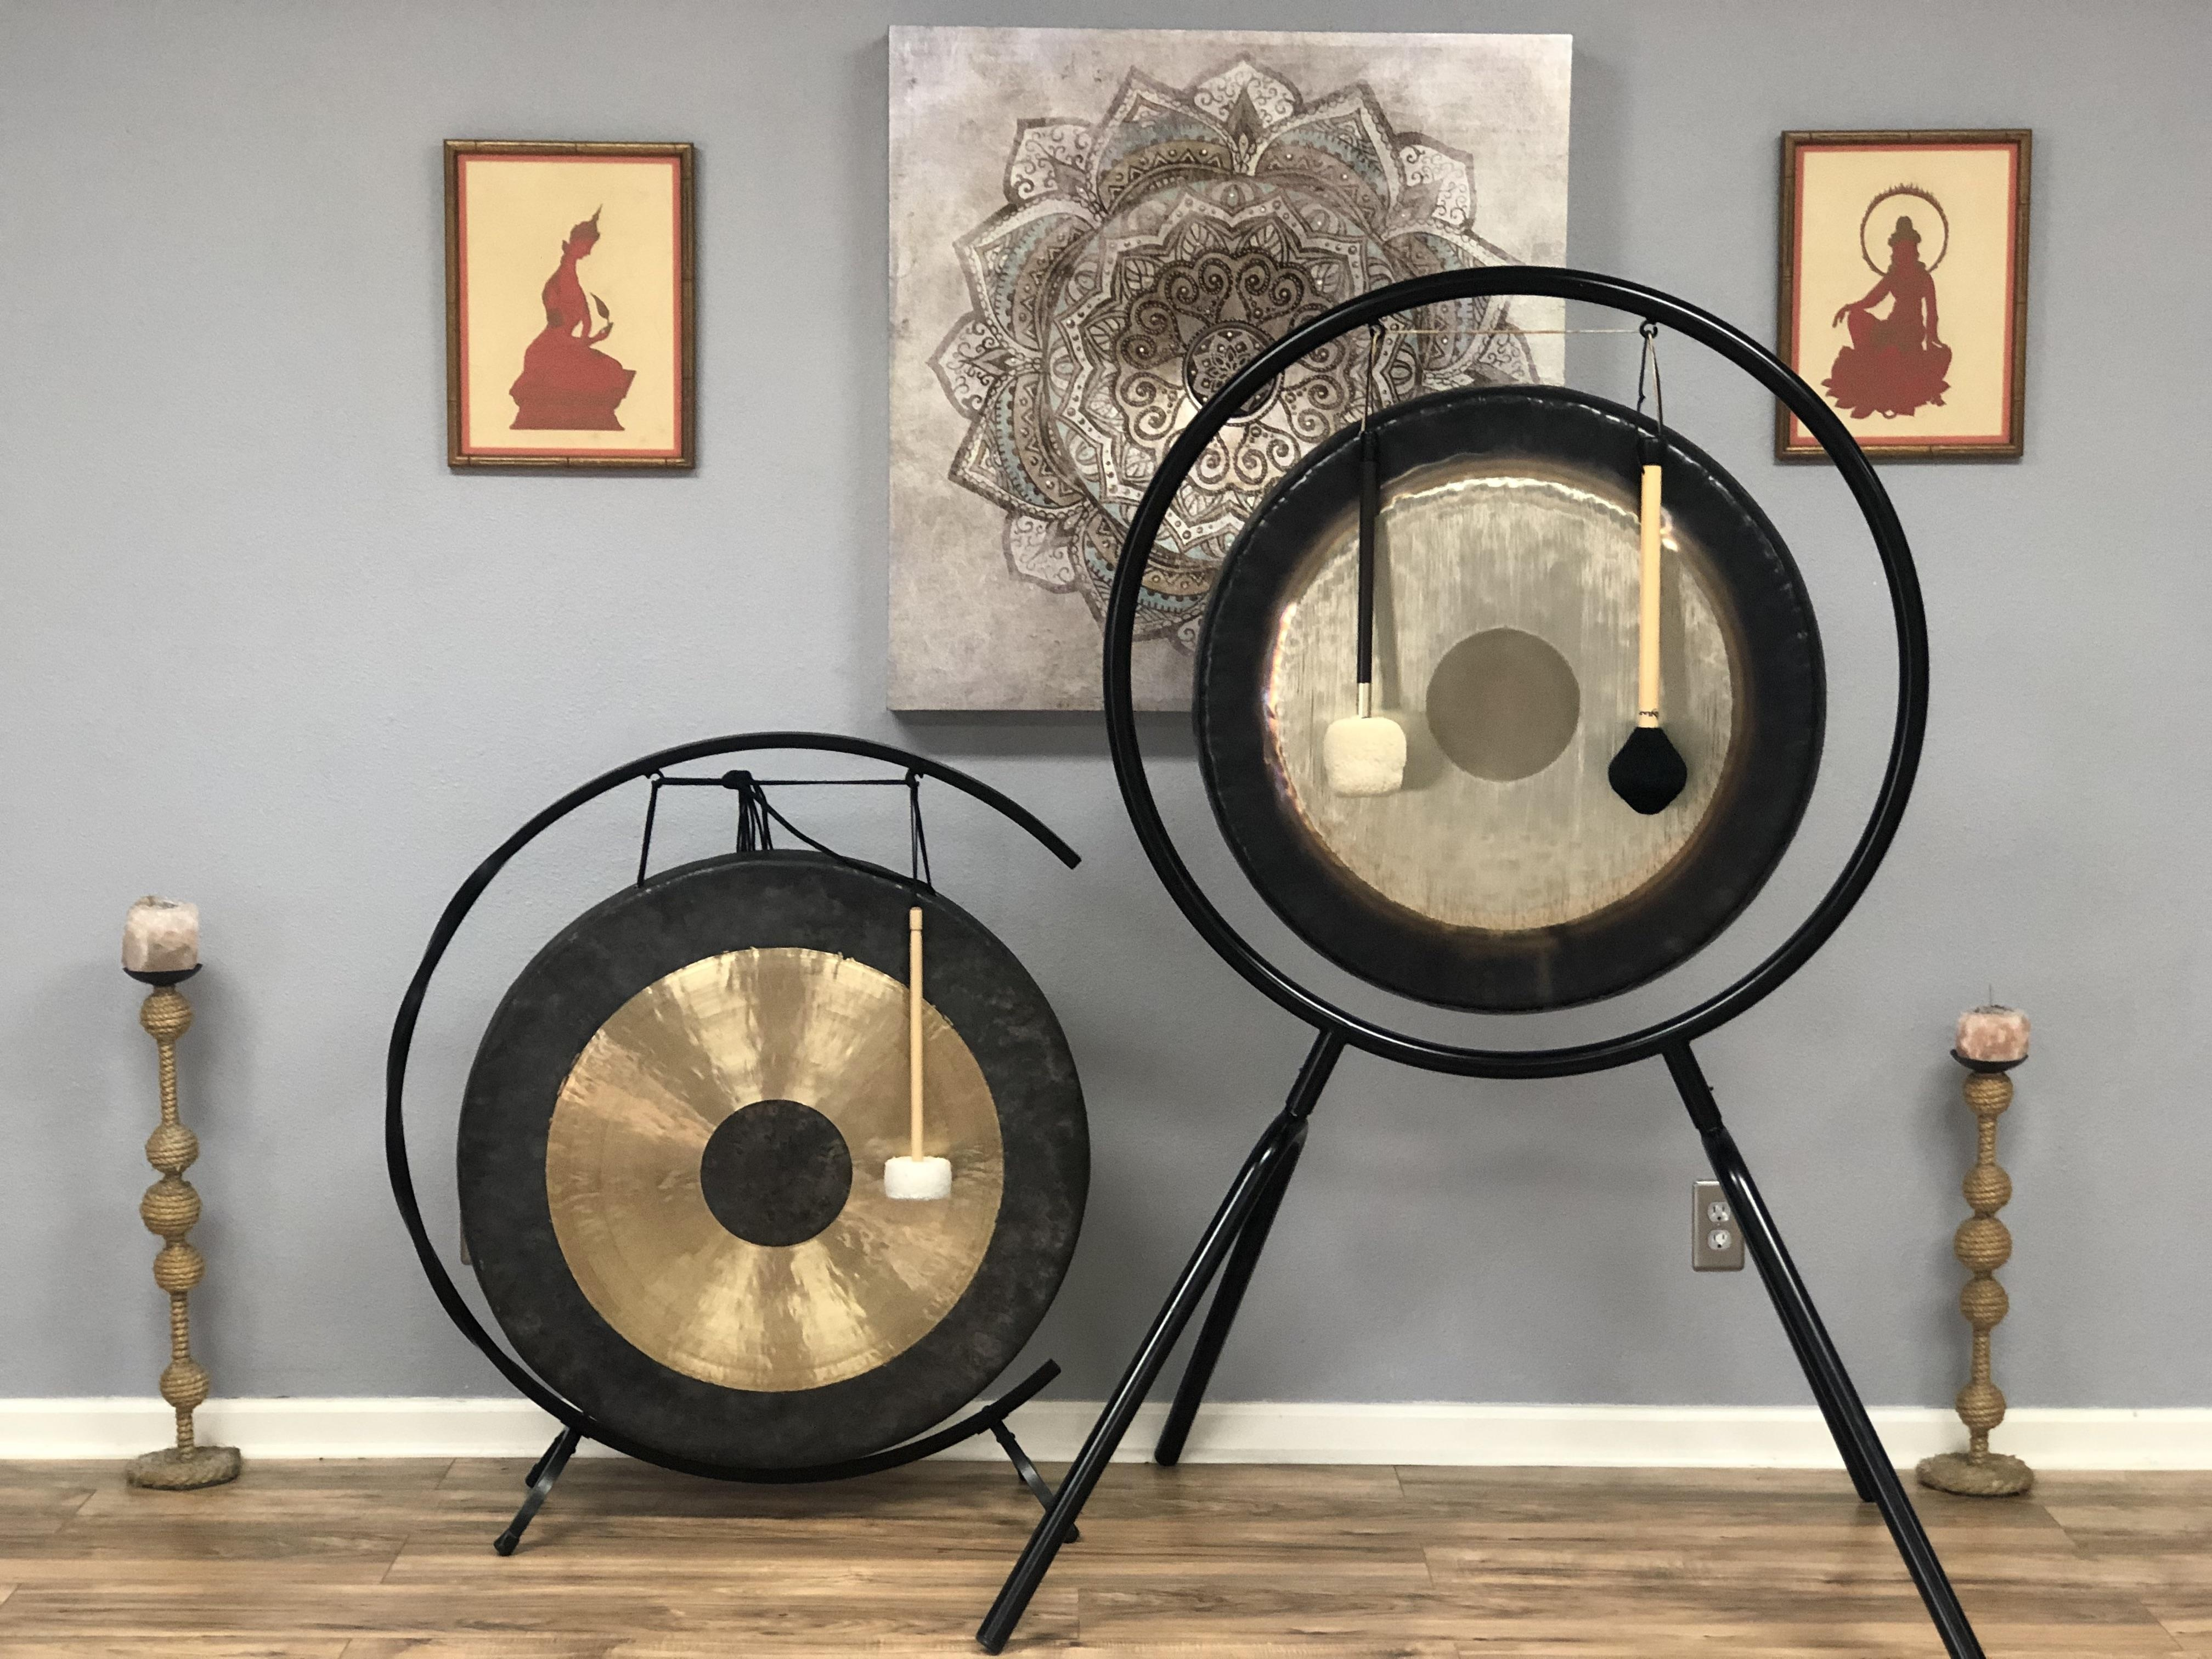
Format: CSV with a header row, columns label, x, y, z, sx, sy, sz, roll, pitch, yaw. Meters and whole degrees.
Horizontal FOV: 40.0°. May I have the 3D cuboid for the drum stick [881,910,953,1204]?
label,x,y,z,sx,sy,sz,roll,pitch,yaw
drum stick,-0.243,0.308,4.144,0.083,0.392,0.131,2,5,7

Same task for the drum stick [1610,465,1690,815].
label,x,y,z,sx,sy,sz,roll,pitch,yaw
drum stick,0.693,-0.244,3.897,0.082,0.441,0.078,0,5,-16

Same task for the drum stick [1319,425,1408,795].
label,x,y,z,sx,sy,sz,roll,pitch,yaw
drum stick,0.341,-0.279,3.920,0.106,0.472,0.103,1,5,5
